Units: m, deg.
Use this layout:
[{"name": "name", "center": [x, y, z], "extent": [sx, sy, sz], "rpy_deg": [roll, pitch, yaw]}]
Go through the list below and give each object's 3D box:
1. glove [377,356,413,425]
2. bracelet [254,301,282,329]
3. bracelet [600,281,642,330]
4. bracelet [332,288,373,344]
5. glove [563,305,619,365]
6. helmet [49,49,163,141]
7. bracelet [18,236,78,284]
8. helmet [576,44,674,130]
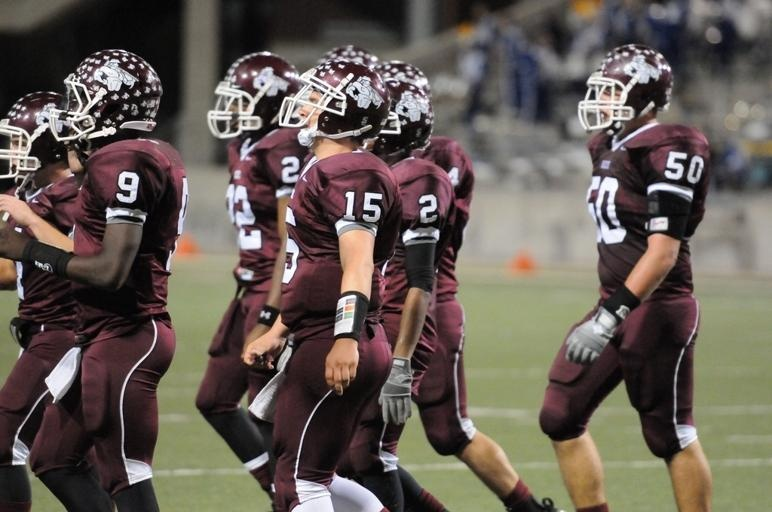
[{"name": "glove", "center": [0.062, 0.781, 5.807], "extent": [0.204, 0.340, 0.109], "rpy_deg": [8, -8, -15]}, {"name": "bracelet", "center": [-0.760, 0.391, 6.734], "extent": [0.138, 0.148, 0.145], "rpy_deg": [21, -13, -22]}, {"name": "bracelet", "center": [1.440, 0.313, 6.199], "extent": [0.187, 0.247, 0.153], "rpy_deg": [44, -9, -4]}, {"name": "bracelet", "center": [-0.183, 0.320, 5.455], "extent": [0.166, 0.269, 0.076], "rpy_deg": [3, 6, -2]}, {"name": "glove", "center": [1.251, 0.516, 6.240], "extent": [0.245, 0.391, 0.147], "rpy_deg": [35, 8, 22]}, {"name": "helmet", "center": [-1.578, -0.932, 5.990], "extent": [0.618, 0.513, 0.480], "rpy_deg": [2, 4, -3]}, {"name": "bracelet", "center": [-1.880, 0.008, 5.704], "extent": [0.323, 0.191, 0.152], "rpy_deg": [23, -33, 14]}, {"name": "helmet", "center": [1.510, -1.096, 6.629], "extent": [0.621, 0.520, 0.478], "rpy_deg": [-2, 7, 1]}]
